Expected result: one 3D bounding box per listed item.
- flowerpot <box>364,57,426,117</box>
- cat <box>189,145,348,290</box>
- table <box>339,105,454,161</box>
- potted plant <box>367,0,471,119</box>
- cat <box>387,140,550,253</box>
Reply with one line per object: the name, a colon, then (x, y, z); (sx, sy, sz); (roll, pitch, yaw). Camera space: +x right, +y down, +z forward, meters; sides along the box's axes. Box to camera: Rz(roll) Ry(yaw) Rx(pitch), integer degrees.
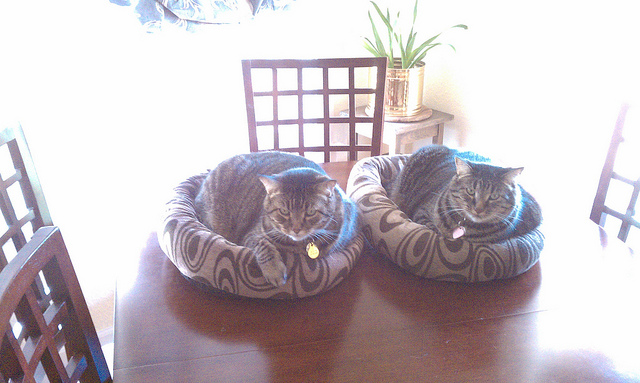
flowerpot: (0.460, -0.668, 3.560); (0.471, 0.466, 0.443); (0, 25, 0)
cat: (-0.194, 0.023, 2.384); (0.613, 0.443, 0.907); (-11, 26, -31)
table: (0.535, -0.391, 3.738); (0.547, 0.508, 0.521); (-17, 39, -23)
potted plant: (0.537, -0.868, 3.572); (0.830, 0.752, 0.758); (2, 31, 3)
cat: (0.649, -0.003, 2.302); (0.474, 0.279, 0.597); (-6, 29, -9)
